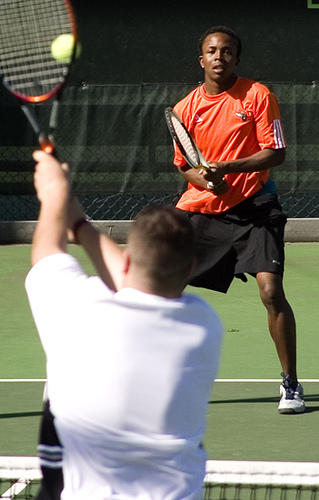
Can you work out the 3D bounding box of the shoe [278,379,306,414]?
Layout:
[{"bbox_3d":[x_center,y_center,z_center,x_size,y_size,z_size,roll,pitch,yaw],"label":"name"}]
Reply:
[{"bbox_3d":[0.758,0.826,3.144,0.228,0.180,0.110,-4,10,-23],"label":"shoe"}]

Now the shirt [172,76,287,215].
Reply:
[{"bbox_3d":[0.401,-0.641,3.414,0.703,0.839,0.455,1,10,10],"label":"shirt"}]

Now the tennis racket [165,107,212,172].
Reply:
[{"bbox_3d":[0.139,-0.638,3.254,0.064,0.424,0.261,-40,-21,11],"label":"tennis racket"}]

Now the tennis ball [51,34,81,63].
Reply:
[{"bbox_3d":[-0.386,-0.792,2.193,0.120,0.125,0.070,6,12,33],"label":"tennis ball"}]
